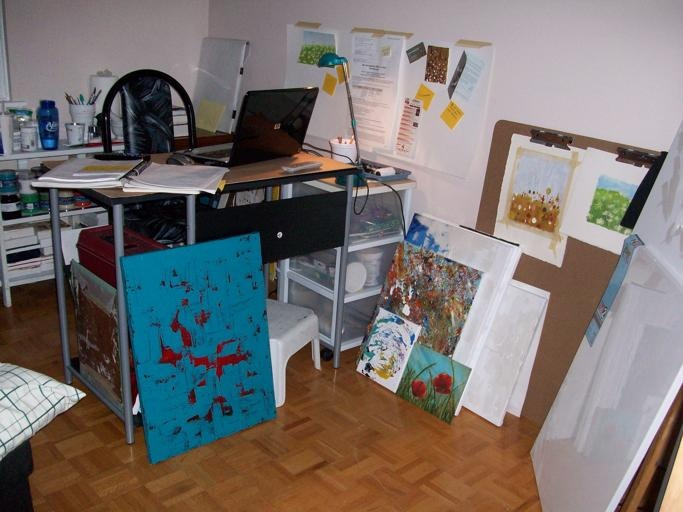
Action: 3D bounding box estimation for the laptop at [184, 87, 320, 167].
[{"bbox_3d":[-0.396,-0.650,2.311,0.460,0.327,0.535,21,30,31],"label":"laptop"}]

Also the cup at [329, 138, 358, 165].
[{"bbox_3d":[0.015,-0.626,2.904,0.177,0.134,0.171,2,30,-1],"label":"cup"}]

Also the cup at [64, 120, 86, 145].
[{"bbox_3d":[-1.744,-0.805,3.237,0.146,0.164,0.151,9,21,-4],"label":"cup"}]

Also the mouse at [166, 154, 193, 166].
[{"bbox_3d":[-0.786,-0.466,2.357,0.112,0.041,0.082,15,20,39],"label":"mouse"}]

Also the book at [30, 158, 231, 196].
[{"bbox_3d":[-0.902,-0.317,2.112,0.777,0.120,0.430,3,23,-1],"label":"book"}]

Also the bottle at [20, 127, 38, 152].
[{"bbox_3d":[-1.932,-0.724,3.018,0.097,0.143,0.054,-12,27,-32],"label":"bottle"}]

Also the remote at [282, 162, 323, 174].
[{"bbox_3d":[-0.201,-0.443,2.433,0.153,0.026,0.081,-16,26,-41],"label":"remote"}]

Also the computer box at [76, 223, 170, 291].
[{"bbox_3d":[-1.088,0.016,2.336,0.418,0.140,0.224,20,12,39],"label":"computer box"}]
